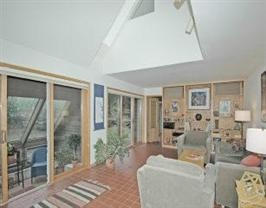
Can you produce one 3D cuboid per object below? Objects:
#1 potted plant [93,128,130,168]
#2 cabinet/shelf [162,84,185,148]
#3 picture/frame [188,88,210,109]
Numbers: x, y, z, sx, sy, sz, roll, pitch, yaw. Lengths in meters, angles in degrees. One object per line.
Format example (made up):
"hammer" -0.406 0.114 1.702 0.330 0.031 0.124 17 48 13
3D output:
"potted plant" -0.723 1.175 5.607 0.897 0.769 0.913 -28 -28 36
"cabinet/shelf" 1.600 0.491 7.680 0.876 2.379 0.496 -1 3 18
"picture/frame" 2.485 -0.194 7.143 0.711 0.779 0.048 0 -1 36
